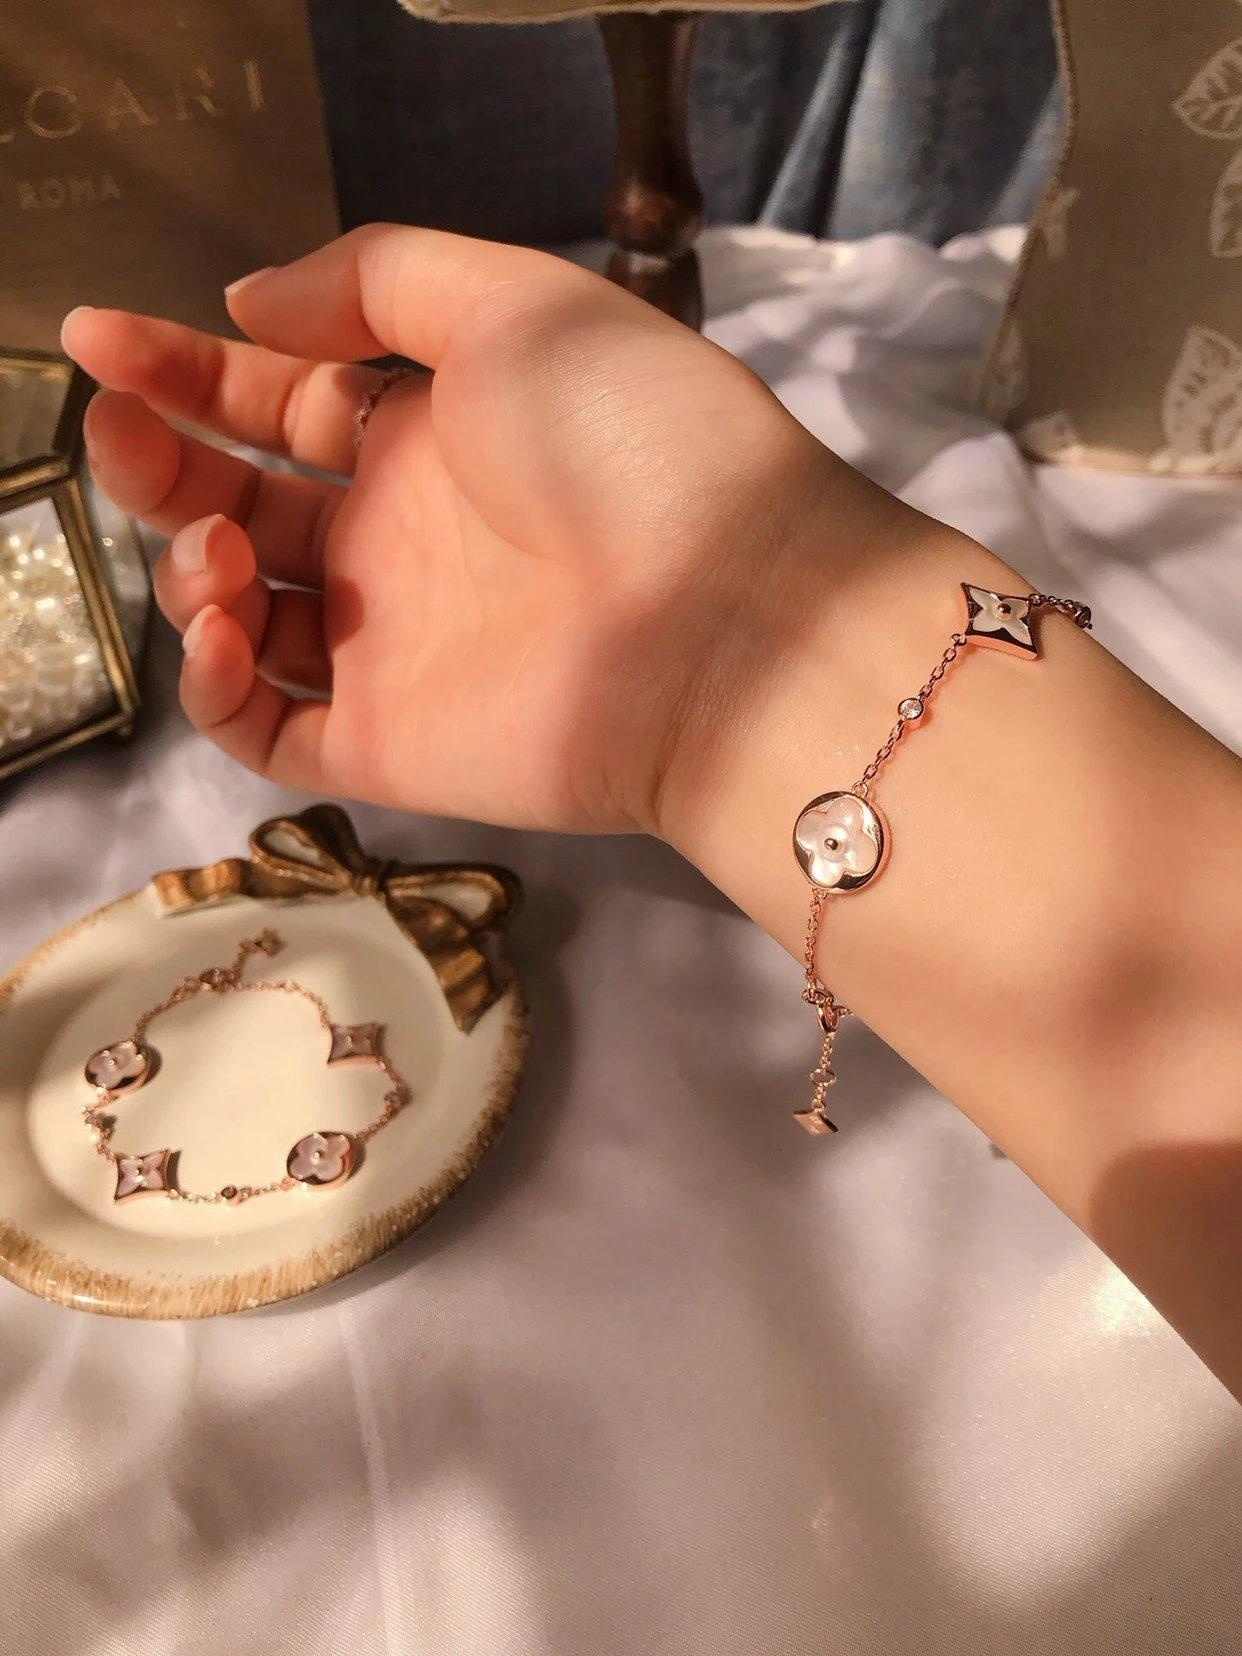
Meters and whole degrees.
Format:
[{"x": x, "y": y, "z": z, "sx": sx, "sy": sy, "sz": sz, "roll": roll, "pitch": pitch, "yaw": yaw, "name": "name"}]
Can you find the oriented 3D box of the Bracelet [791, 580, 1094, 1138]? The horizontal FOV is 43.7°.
[{"x": 0.128, "y": 0.017, "z": 0.748, "sx": 0.114, "sy": 0.280, "sz": 0.045, "roll": 31, "pitch": 9, "yaw": 30, "name": "Bracelet"}]
